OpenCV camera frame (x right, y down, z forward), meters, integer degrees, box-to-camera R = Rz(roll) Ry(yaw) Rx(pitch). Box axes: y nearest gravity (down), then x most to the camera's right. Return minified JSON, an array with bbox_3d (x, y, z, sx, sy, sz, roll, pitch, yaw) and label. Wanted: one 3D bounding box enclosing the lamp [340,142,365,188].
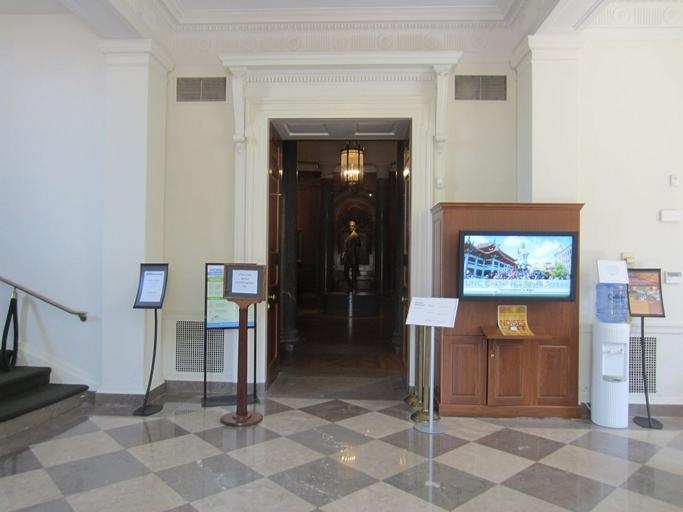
[{"bbox_3d":[0.204,-1.804,10.613,0.418,0.848,0.535,0,6,-4],"label":"lamp"}]
